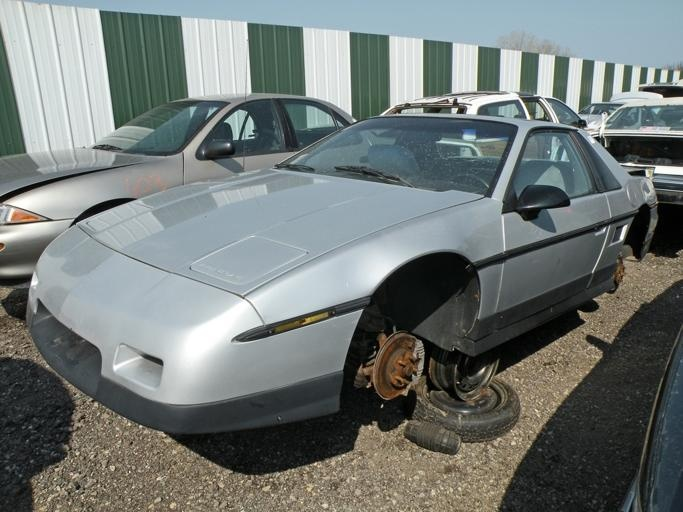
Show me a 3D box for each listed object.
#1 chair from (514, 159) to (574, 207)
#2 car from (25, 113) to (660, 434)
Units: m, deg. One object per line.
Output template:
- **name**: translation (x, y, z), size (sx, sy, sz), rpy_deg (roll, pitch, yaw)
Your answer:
- **chair**: translation (1.413, -0.572, 3.103), size (0.647, 0.297, 0.147), rpy_deg (-5, 2, -38)
- **car**: translation (0.354, -0.234, 3.077), size (4.322, 1.354, 2.074), rpy_deg (-20, 30, -35)
